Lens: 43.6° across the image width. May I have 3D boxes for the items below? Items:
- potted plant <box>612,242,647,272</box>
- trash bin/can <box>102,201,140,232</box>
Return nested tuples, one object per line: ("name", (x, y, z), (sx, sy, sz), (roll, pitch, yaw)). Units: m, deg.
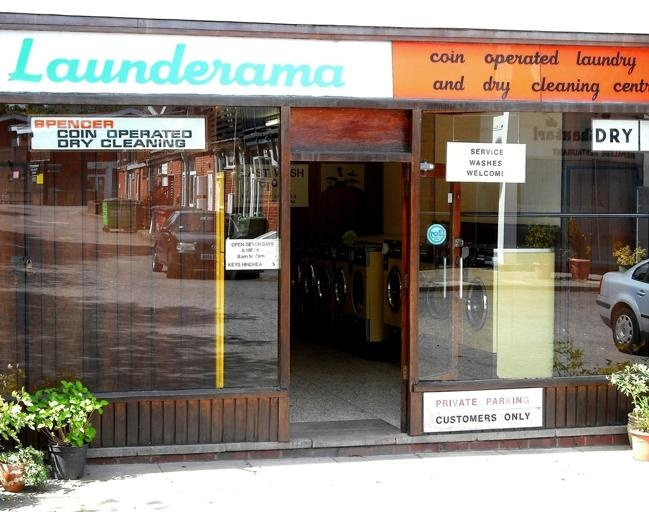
("potted plant", (2.985, -0.006, 7.886), (0.260, 0.200, 0.269), (-2, 10, 1))
("trash bin/can", (-1.774, -0.363, 7.071), (0.371, 0.351, 0.235), (0, 8, -11))
